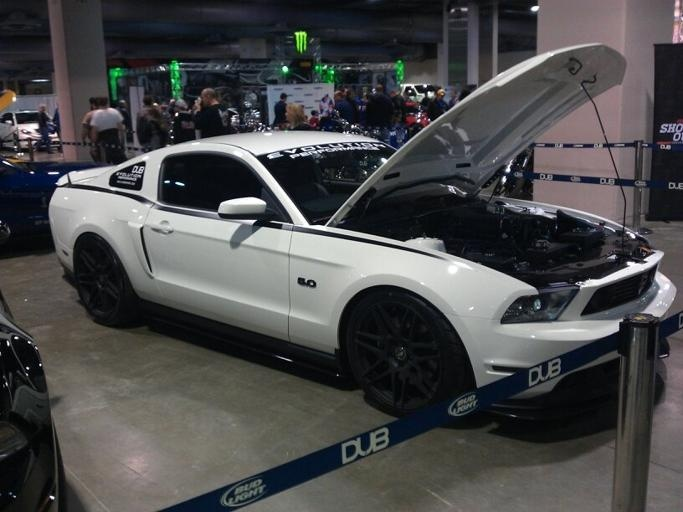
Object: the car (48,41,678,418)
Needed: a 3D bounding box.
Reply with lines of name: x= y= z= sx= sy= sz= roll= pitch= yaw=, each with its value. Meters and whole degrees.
car: x=-0.218 y=-0.223 z=4.463 sx=4.992 sy=2.067 sz=2.434 roll=10 pitch=19 yaw=34
